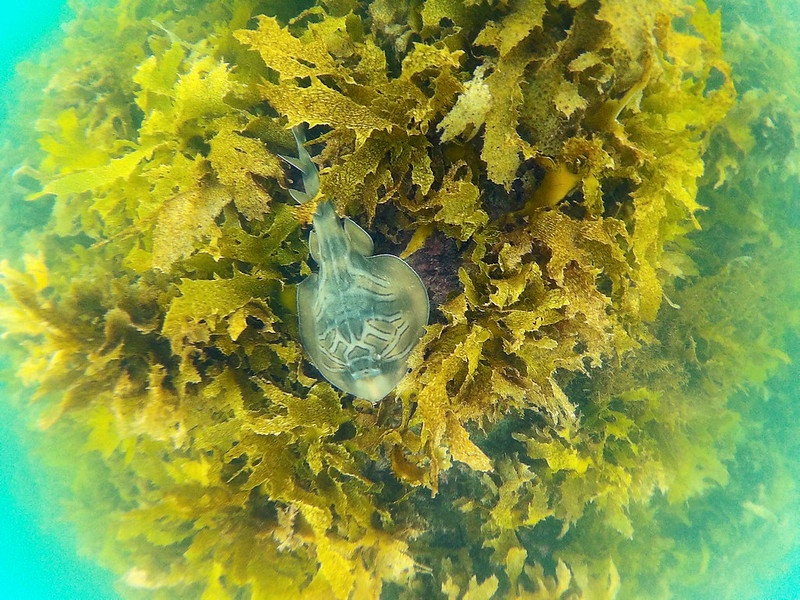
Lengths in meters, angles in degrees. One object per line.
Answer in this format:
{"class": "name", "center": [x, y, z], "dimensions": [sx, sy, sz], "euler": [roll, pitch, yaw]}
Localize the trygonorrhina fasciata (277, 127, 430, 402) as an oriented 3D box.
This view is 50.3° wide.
{"class": "trygonorrhina fasciata", "center": [-0.246, 0.057, 4.265], "dimensions": [0.822, 0.247, 0.694], "euler": [37, -80, -9]}
